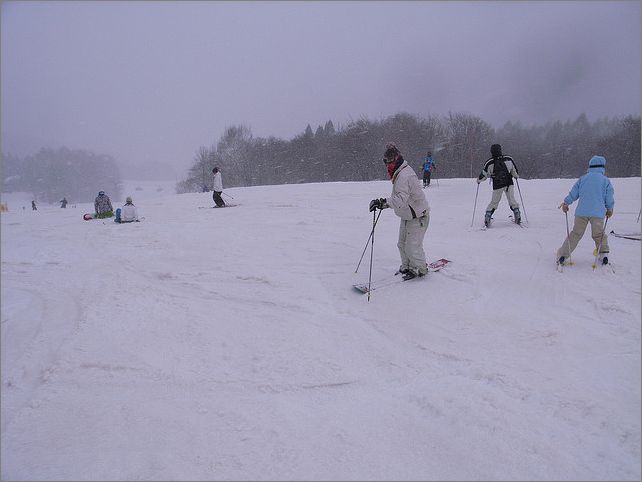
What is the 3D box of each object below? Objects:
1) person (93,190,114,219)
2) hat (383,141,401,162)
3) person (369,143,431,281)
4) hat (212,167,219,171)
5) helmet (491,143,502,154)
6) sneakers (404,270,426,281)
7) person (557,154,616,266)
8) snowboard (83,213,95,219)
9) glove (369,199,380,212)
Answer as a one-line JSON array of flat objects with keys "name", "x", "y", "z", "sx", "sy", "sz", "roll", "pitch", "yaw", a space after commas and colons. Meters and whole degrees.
[{"name": "person", "x": -8.004, "y": -1.477, "z": 16.180, "sx": 0.595, "sy": 1.011, "sz": 2.274, "roll": -7, "pitch": 17, "yaw": -26}, {"name": "hat", "x": 1.264, "y": -1.570, "z": 7.791, "sx": 0.254, "sy": 0.339, "sz": 0.364, "roll": -2, "pitch": 11, "yaw": 2}, {"name": "person", "x": 1.477, "y": -0.486, "z": 7.817, "sx": 0.947, "sy": 2.407, "sz": 1.296, "roll": 4, "pitch": 14, "yaw": 15}, {"name": "hat", "x": -3.690, "y": -2.513, "z": 15.473, "sx": 0.120, "sy": 0.179, "sz": 0.334, "roll": -19, "pitch": 27, "yaw": -35}, {"name": "helmet", "x": 4.157, "y": -2.156, "z": 10.407, "sx": 0.216, "sy": 0.264, "sz": 0.319, "roll": 4, "pitch": 15, "yaw": 15}, {"name": "sneakers", "x": 1.744, "y": 0.620, "z": 8.075, "sx": 0.456, "sy": 0.222, "sz": 0.165, "roll": -2, "pitch": 12, "yaw": 11}, {"name": "person", "x": 4.810, "y": -0.559, "z": 7.907, "sx": 0.833, "sy": 1.890, "sz": 1.128, "roll": 10, "pitch": 17, "yaw": 34}, {"name": "snowboard", "x": -8.158, "y": -0.859, "z": 15.524, "sx": 0.279, "sy": 0.092, "sz": 0.282, "roll": -5, "pitch": 14, "yaw": -41}, {"name": "glove", "x": 0.904, "y": -0.594, "z": 7.321, "sx": 0.111, "sy": 0.165, "sz": 0.324, "roll": 5, "pitch": 16, "yaw": 20}]
